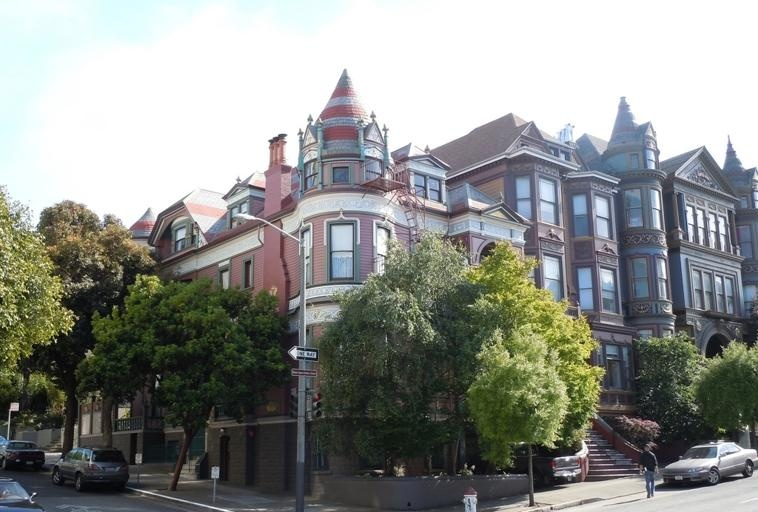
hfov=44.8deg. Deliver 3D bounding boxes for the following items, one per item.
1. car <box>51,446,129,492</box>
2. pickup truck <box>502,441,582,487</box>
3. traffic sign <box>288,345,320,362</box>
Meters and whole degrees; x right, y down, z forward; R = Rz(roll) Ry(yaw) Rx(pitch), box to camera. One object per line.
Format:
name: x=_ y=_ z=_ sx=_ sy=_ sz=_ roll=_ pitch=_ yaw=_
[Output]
car: x=-17.088 y=12.717 z=54.678 sx=5.206 sy=2.586 sz=3.061 roll=-14 pitch=-24 yaw=33
pickup truck: x=10.225 y=12.222 z=54.171 sx=3.606 sy=2.644 sz=7.439 roll=-1 pitch=-10 yaw=13
traffic sign: x=-3.875 y=4.897 z=46.857 sx=0.907 sy=0.918 sz=1.659 roll=-13 pitch=-24 yaw=32
